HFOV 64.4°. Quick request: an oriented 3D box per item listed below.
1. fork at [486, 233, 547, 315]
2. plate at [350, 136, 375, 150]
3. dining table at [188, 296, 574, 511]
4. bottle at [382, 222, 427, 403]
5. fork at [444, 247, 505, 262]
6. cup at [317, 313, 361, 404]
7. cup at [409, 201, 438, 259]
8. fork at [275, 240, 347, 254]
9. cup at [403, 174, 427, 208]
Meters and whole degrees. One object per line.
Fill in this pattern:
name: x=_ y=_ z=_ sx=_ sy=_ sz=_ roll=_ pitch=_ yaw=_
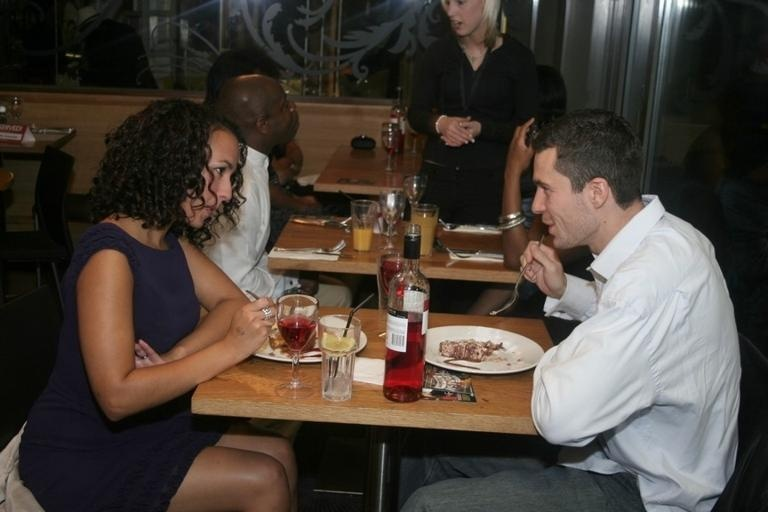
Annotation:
fork: x=0.625 y=0.077 z=2.886 sx=0.074 sy=0.091 sz=0.504 roll=-4 pitch=49 yaw=53
plate: x=-0.180 y=-0.933 z=5.098 sx=0.127 sy=0.086 sz=0.218 roll=1 pitch=10 yaw=2
dining table: x=-0.019 y=0.293 z=2.147 sx=0.793 sy=0.778 sz=0.800 roll=2 pitch=10 yaw=1
bottle: x=0.067 y=0.220 z=1.839 sx=0.124 sy=0.420 sz=0.144 roll=2 pitch=19 yaw=0
fork: x=0.429 y=-0.003 z=2.925 sx=0.249 sy=0.038 sz=0.028 roll=7 pitch=53 yaw=-7
cup: x=-0.139 y=0.326 z=1.899 sx=0.132 sy=0.230 sz=0.131 roll=2 pitch=4 yaw=0
cup: x=0.188 y=-0.123 z=2.952 sx=0.145 sy=0.233 sz=0.146 roll=3 pitch=11 yaw=-1
fork: x=-0.359 y=-0.041 z=2.929 sx=0.296 sy=0.047 sz=0.043 roll=2 pitch=47 yaw=0
cup: x=0.160 y=-0.339 z=3.194 sx=0.156 sy=0.253 sz=0.161 roll=0 pitch=10 yaw=0
